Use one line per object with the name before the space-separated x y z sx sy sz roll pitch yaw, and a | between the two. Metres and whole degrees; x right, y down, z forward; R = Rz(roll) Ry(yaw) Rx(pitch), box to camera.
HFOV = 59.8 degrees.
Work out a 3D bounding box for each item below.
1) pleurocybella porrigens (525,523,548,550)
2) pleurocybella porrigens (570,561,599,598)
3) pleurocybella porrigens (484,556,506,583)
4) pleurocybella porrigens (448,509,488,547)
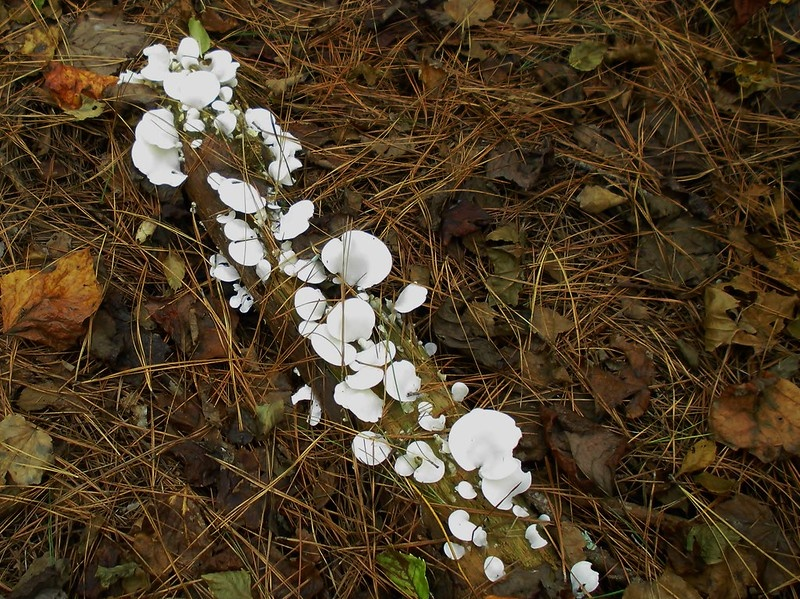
pleurocybella porrigens | 0.796 1.393 4.102 0.160 0.045 0.134 -21 70 -17
pleurocybella porrigens | 1.079 1.638 4.097 0.159 0.161 0.200 2 76 2
pleurocybella porrigens | 0.554 1.566 4.058 0.126 0.042 0.136 -1 75 0
pleurocybella porrigens | 0.375 1.328 4.071 0.248 0.046 0.170 30 52 9
